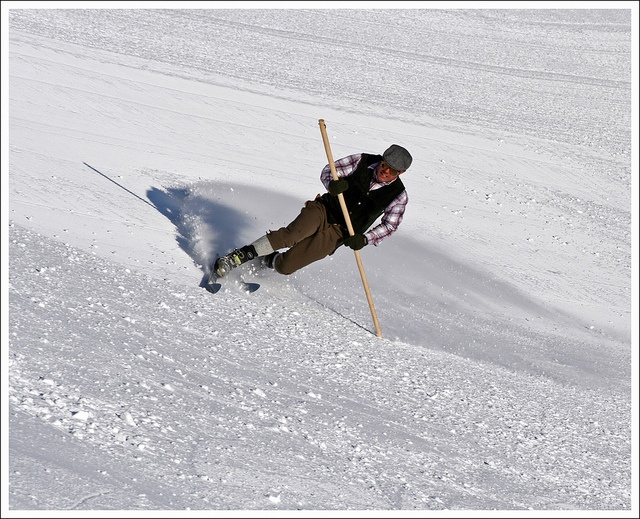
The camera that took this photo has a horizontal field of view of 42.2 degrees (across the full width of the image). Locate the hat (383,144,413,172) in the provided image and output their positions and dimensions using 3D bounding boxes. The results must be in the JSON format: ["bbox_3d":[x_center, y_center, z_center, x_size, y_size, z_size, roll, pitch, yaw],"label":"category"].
[{"bbox_3d":[0.909,-1.199,9.904,0.323,0.310,0.243,25,31,13],"label":"hat"}]

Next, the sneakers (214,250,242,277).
[{"bbox_3d":[-1.138,0.048,9.998,0.305,0.336,0.194,-10,43,-39],"label":"sneakers"}]
